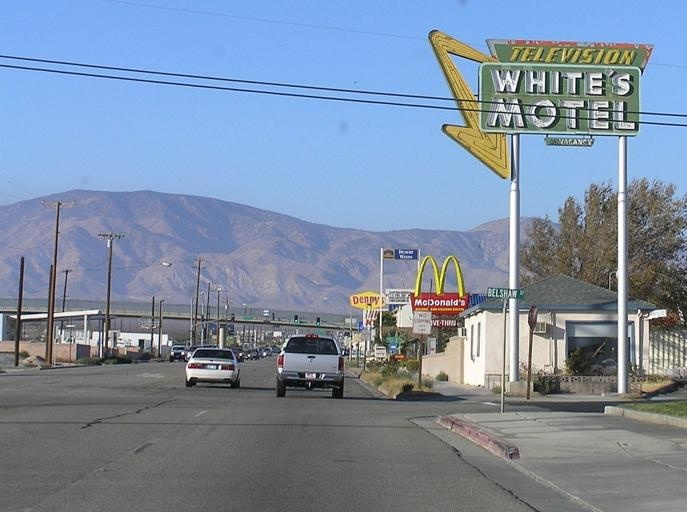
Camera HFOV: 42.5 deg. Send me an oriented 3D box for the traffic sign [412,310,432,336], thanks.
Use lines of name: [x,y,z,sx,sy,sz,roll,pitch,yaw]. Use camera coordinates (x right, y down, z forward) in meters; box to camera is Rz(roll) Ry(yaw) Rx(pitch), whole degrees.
traffic sign: [3.089,2.645,35.543,0.700,0.872,0.624,0,-8,-1]
